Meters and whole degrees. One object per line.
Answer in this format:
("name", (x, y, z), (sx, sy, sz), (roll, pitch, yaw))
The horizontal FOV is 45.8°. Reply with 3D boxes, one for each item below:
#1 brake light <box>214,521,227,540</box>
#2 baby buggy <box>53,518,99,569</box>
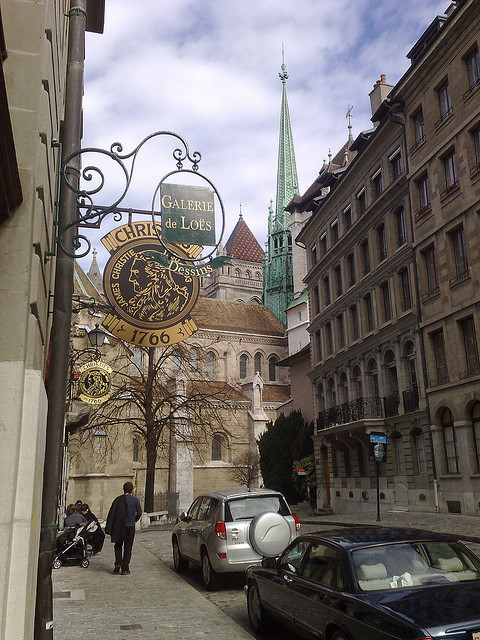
("brake light", (-0.320, 3.410, 9.192), (0.250, 0.272, 0.078), (-11, -19, 36))
("baby buggy", (-3.705, 4.833, 12.680), (0.877, 1.108, 0.738), (2, 0, -13))
